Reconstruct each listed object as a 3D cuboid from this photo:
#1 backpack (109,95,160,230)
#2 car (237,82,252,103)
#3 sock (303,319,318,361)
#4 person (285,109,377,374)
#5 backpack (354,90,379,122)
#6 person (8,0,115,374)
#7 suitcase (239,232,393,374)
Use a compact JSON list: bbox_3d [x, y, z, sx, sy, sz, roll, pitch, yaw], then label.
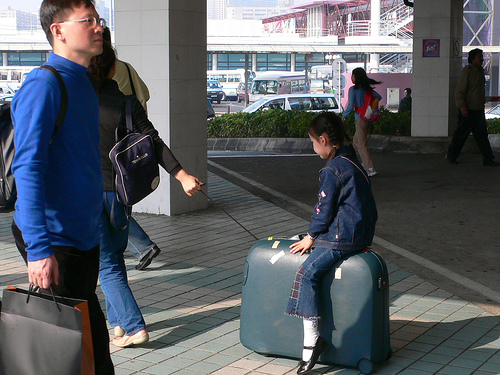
[{"bbox_3d":[-0.879,-0.182,4.257,0.394,0.892,0.259,-25,19,-34],"label":"backpack"},{"bbox_3d":[-0.464,-9.250,55.517,1.491,1.490,2.524,0,4,-5],"label":"car"},{"bbox_3d":[0.427,1.042,4.024,0.132,0.276,0.106,-3,10,-13],"label":"sock"},{"bbox_3d":[0.545,0.349,4.138,0.668,1.737,0.423,-8,13,-37],"label":"person"},{"bbox_3d":[2.300,-1.592,11.363,0.562,0.625,0.402,-7,12,-17],"label":"backpack"},{"bbox_3d":[-1.050,0.071,3.244,0.374,2.174,0.671,2,10,15],"label":"person"},{"bbox_3d":[0.469,0.838,4.112,0.889,0.767,0.311,2,6,22],"label":"suitcase"}]
